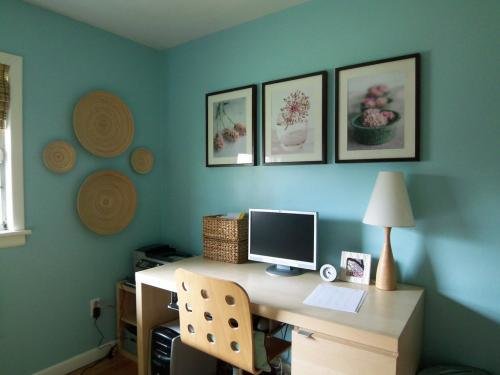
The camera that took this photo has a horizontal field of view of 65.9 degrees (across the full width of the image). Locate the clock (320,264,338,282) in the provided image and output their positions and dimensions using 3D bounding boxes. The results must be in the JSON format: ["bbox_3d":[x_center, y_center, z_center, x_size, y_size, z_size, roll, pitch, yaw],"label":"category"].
[{"bbox_3d":[0.560,0.605,2.752,0.105,0.119,0.082,11,2,27],"label":"clock"}]

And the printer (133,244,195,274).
[{"bbox_3d":[-0.836,0.625,3.530,0.377,0.169,0.289,1,3,31],"label":"printer"}]

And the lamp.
[{"bbox_3d":[0.966,0.304,2.703,0.437,0.828,0.451,5,7,42],"label":"lamp"}]

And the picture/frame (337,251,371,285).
[{"bbox_3d":[0.749,0.577,2.741,0.187,0.220,0.021,1,-7,32],"label":"picture/frame"}]

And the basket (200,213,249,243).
[{"bbox_3d":[-0.186,0.339,3.193,0.213,0.154,0.288,5,-7,-42],"label":"basket"}]

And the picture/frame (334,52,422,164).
[{"bbox_3d":[0.947,-0.576,2.778,0.748,0.978,0.034,-1,0,33],"label":"picture/frame"}]

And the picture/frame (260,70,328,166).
[{"bbox_3d":[0.374,-0.557,3.080,0.717,0.978,0.061,1,2,38],"label":"picture/frame"}]

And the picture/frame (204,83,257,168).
[{"bbox_3d":[-0.148,-0.550,3.398,0.690,0.897,0.035,-1,-1,35],"label":"picture/frame"}]

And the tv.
[{"bbox_3d":[0.256,0.409,2.973,0.562,0.466,0.250,2,7,31],"label":"tv"}]
